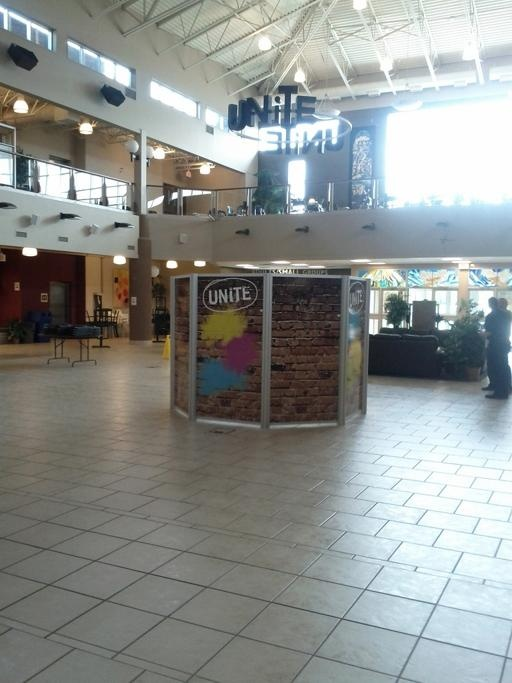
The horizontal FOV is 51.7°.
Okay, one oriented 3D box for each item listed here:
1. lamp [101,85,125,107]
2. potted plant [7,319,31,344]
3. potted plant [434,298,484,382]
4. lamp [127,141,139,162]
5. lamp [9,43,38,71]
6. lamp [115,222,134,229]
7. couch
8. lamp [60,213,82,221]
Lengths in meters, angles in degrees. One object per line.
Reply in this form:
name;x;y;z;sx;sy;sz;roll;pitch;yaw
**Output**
lamp;-4.374;-7.441;15.954;0.681;0.449;0.388;-4;7;-42
potted plant;-8.372;-0.359;18.668;0.776;1.019;0.809;2;2;-20
potted plant;4.214;-0.023;10.843;0.862;1.583;0.618;3;6;25
lamp;-4.040;-6.391;17.381;0.377;0.749;0.971;0;5;-12
lamp;-5.864;-7.141;13.279;0.501;0.477;0.673;4;6;29
lamp;-4.258;-3.719;16.965;0.326;0.228;0.864;2;5;13
couch;3.266;0.119;11.385;1.642;1.066;0.935;2;5;22
lamp;-5.187;-3.507;14.776;0.319;0.220;0.603;3;5;21
